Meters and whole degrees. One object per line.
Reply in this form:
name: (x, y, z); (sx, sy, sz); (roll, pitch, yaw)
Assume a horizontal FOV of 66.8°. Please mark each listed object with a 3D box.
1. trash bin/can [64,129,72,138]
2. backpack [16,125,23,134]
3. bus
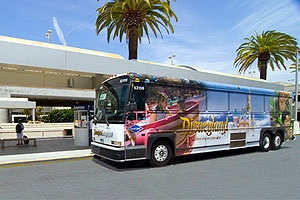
trash bin/can: (-8.552, 3.414, 23.990); (0.985, 0.975, 0.714); (2, -4, -33)
backpack: (-10.247, 2.204, 17.714); (0.640, 0.756, 0.409); (0, -8, -11)
bus: (3.842, 1.133, 14.854); (14.841, 4.662, 3.316); (1, -1, -31)
